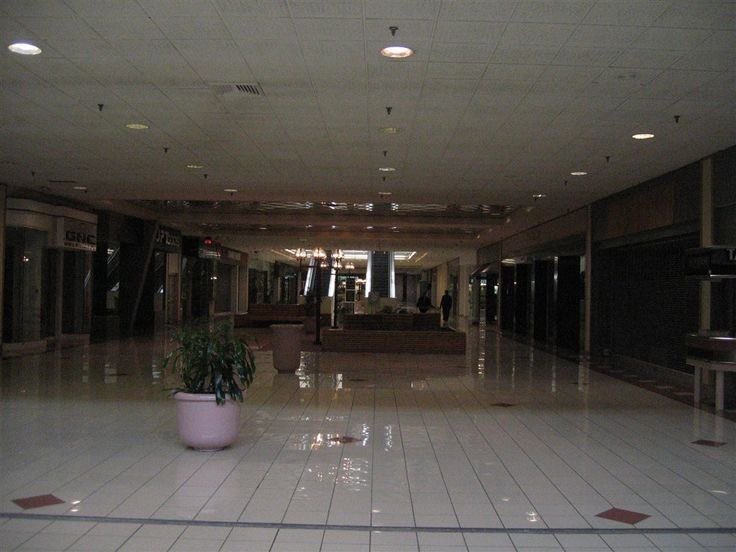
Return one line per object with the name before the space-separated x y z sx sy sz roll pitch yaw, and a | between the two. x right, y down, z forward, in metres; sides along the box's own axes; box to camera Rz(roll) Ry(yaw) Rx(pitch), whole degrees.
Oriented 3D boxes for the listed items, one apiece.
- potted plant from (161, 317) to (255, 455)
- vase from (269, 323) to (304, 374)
potted plant | -1.614 1.133 5.376 0.795 1.296 0.458 2 0 -13
vase | -1.637 1.390 10.294 0.553 0.910 0.723 2 -1 -10
